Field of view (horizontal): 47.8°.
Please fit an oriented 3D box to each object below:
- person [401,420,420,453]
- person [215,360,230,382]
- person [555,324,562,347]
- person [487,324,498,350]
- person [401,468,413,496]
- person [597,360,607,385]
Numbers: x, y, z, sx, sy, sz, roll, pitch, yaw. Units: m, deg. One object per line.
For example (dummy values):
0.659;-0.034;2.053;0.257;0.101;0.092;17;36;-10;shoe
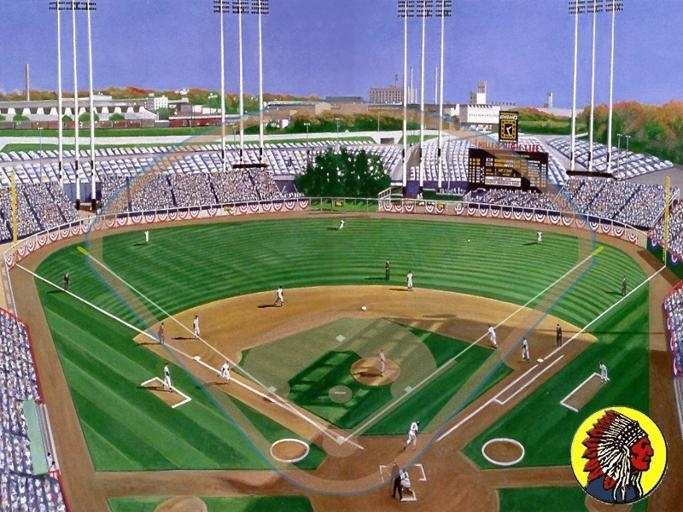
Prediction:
3.825;9.587;42.519;0.679;1.629;2.003;1;14;12;person
-7.074;7.141;47.552;0.647;1.254;0.393;25;25;36;person
14.320;5.175;51.052;0.360;1.487;1.083;3;14;17;person
10.083;5.535;52.023;0.855;1.048;2.235;-10;-14;16;person
3.160;11.402;38.646;0.290;1.178;0.704;-11;-17;39;person
15.928;6.977;46.978;0.552;1.065;1.635;3;14;17;person
